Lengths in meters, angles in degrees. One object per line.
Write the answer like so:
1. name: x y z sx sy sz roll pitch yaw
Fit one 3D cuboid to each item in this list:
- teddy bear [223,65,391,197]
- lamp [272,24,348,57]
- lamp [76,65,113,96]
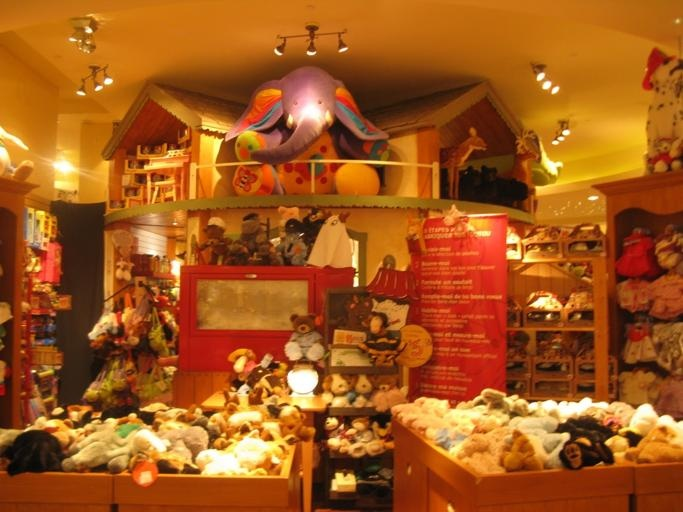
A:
1. teddy bear: -0.426 -1.676 8.208 1.914 1.638 1.188 5 -11 -25
2. lamp: -0.357 -2.703 7.626 0.971 0.291 0.205 3 10 16
3. lamp: -3.529 -2.514 8.693 0.556 0.252 0.217 2 10 35
